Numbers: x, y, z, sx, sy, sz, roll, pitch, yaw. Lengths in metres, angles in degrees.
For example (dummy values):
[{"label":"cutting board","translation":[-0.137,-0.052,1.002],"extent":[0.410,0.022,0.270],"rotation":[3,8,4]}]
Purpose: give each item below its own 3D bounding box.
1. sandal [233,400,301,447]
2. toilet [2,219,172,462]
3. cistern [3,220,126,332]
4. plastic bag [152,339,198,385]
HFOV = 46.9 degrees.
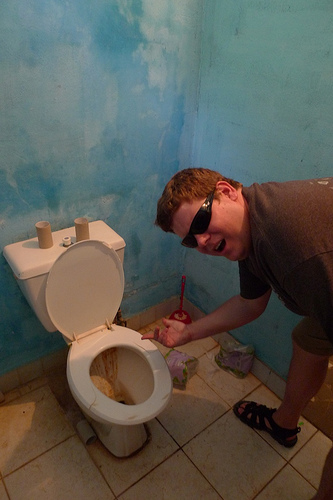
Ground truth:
[{"label":"sandal","translation":[0.440,0.763,1.733],"extent":[0.298,0.113,0.087],"rotation":[21,27,31]},{"label":"toilet","translation":[-0.368,0.410,1.618],"extent":[0.431,0.785,0.771],"rotation":[-27,48,-26]},{"label":"cistern","translation":[-0.418,0.116,1.590],"extent":[0.446,0.388,0.233],"rotation":[-13,30,-39]},{"label":"plastic bag","translation":[0.020,0.590,2.005],"extent":[0.282,0.084,0.248],"rotation":[21,37,33]}]
